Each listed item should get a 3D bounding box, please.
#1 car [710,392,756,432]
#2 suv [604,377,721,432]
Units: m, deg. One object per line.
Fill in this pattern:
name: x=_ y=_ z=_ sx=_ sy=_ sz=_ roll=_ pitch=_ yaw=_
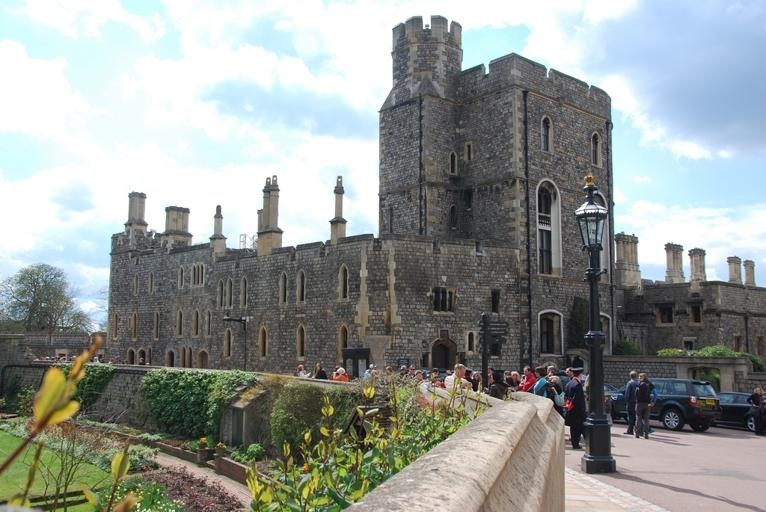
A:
car: x=13.566 y=5.963 z=27.749 sx=1.932 sy=0.878 sz=1.183 roll=-4 pitch=-11 yaw=41
suv: x=10.292 y=5.333 z=26.776 sx=3.958 sy=1.509 sz=1.921 roll=-2 pitch=-10 yaw=40
